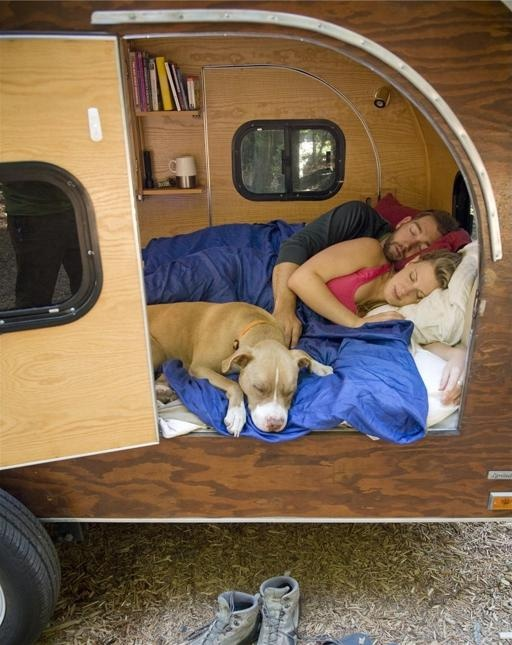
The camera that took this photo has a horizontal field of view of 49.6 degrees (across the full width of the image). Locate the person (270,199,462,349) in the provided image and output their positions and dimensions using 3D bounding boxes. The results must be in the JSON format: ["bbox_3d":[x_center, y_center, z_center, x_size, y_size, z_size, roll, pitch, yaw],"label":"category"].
[{"bbox_3d":[0.605,-0.253,3.102,0.969,0.507,0.698,-23,43,-3],"label":"person"}]

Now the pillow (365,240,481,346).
[{"bbox_3d":[0.995,-0.132,2.830,0.207,0.424,0.557,42,-11,-8],"label":"pillow"}]

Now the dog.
[{"bbox_3d":[-0.121,0.159,2.714,0.777,0.356,1.237,-5,16,-16],"label":"dog"}]

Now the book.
[{"bbox_3d":[-0.769,-2.038,4.681,0.569,0.469,0.113,-2,18,-6],"label":"book"}]

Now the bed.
[{"bbox_3d":[0.122,0.067,2.504,1.623,0.301,1.442,-1,37,6],"label":"bed"}]

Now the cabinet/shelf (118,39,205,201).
[{"bbox_3d":[-0.816,-1.739,5.012,0.991,1.623,0.447,3,26,-8],"label":"cabinet/shelf"}]
